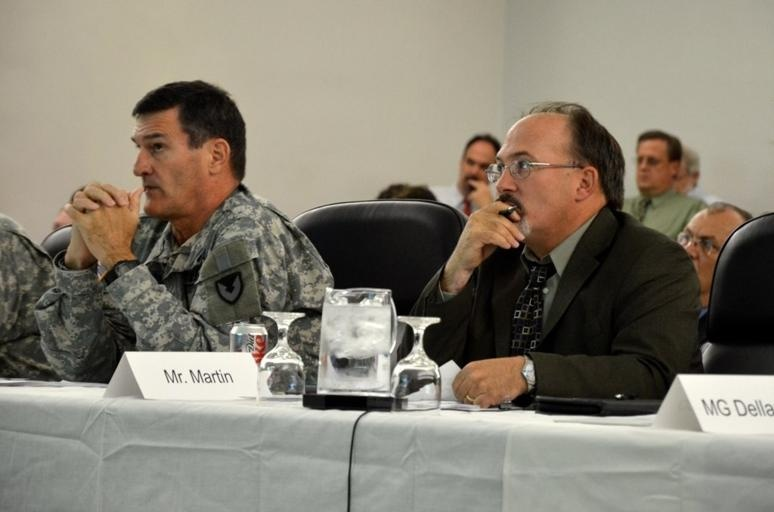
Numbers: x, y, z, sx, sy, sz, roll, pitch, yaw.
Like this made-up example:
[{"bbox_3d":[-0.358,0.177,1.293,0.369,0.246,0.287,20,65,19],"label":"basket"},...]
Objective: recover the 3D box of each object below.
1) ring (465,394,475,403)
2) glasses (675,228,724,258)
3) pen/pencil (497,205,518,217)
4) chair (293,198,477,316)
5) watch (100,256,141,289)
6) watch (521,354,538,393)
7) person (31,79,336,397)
[{"bbox_3d":[0.184,0.314,1.548,0.004,0.016,0.016,-20,14,-23],"label":"ring"},{"bbox_3d":[1.278,-0.052,2.824,0.099,0.031,0.103,26,0,-22],"label":"glasses"},{"bbox_3d":[0.367,-0.135,2.098,0.040,0.011,0.026,8,31,37],"label":"pen/pencil"},{"bbox_3d":[0.020,-0.038,2.684,0.434,0.581,0.464,0,6,18],"label":"chair"},{"bbox_3d":[-0.772,0.044,2.021,0.076,0.068,0.095,-32,-9,-22],"label":"watch"},{"bbox_3d":[0.337,0.276,1.640,0.048,0.065,0.023,2,-3,0],"label":"watch"},{"bbox_3d":[-0.641,-0.067,2.225,0.784,0.961,0.752,3,16,32],"label":"person"}]
